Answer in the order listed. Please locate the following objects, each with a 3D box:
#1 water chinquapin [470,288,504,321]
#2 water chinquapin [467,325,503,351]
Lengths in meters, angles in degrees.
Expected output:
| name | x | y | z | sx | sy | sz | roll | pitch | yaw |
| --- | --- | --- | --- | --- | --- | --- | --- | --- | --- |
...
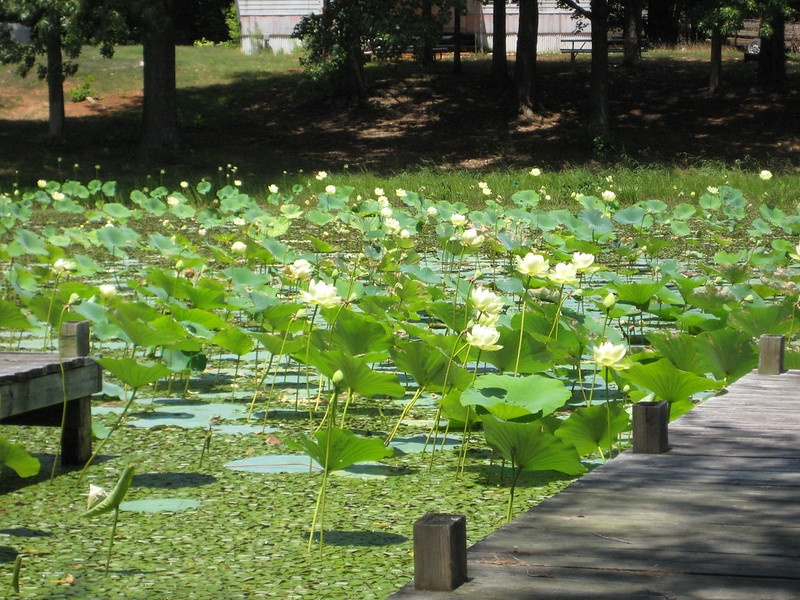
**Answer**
| name | x | y | z | sx | sy | sz | roll | pitch | yaw |
| --- | --- | --- | --- | --- | --- | --- | --- | --- | --- |
| water chinquapin | 0.360 | 0.027 | 4.501 | 0.108 | 0.162 | 0.254 | 3 | 14 | 7 |
| water chinquapin | 0.334 | 0.155 | 4.374 | 0.127 | 0.125 | 0.205 | 2 | 14 | 4 |
